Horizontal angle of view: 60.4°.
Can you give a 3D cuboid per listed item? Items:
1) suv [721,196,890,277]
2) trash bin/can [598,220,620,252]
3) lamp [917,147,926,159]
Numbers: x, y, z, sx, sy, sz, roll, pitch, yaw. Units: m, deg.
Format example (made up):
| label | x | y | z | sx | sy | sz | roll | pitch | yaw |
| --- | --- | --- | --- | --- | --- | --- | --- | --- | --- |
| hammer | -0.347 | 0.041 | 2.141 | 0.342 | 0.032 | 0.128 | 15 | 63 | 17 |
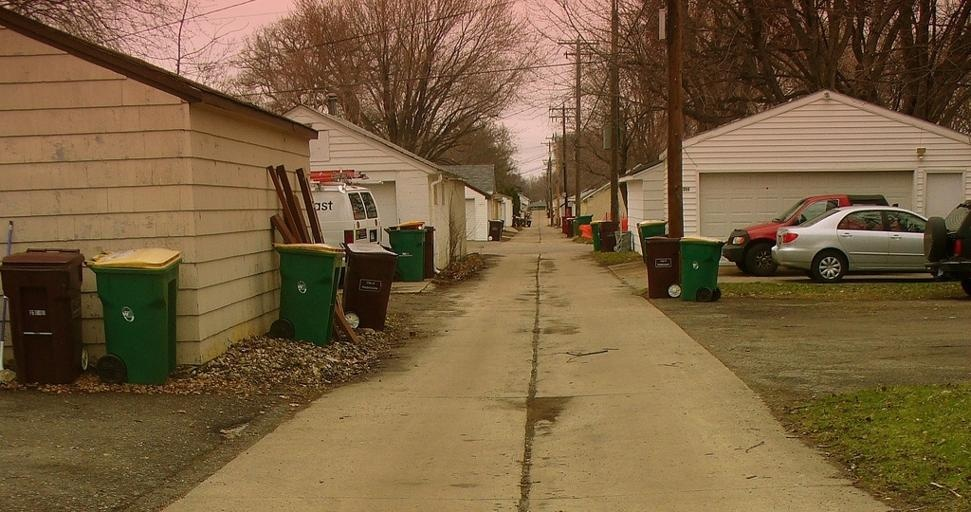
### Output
| label | x | y | z | sx | sy | sz | roll | pitch | yaw |
| --- | --- | --- | --- | --- | --- | --- | --- | --- | --- |
| suv | 9.805 | -0.739 | 24.806 | 5.225 | 1.882 | 2.289 | -1 | 2 | 7 |
| trash bin/can | 5.087 | -0.865 | 34.292 | 0.710 | 1.238 | 1.148 | -1 | 8 | 6 |
| lamp | 13.935 | -3.366 | 26.656 | 0.306 | 0.335 | 0.172 | 2 | 9 | 22 |
